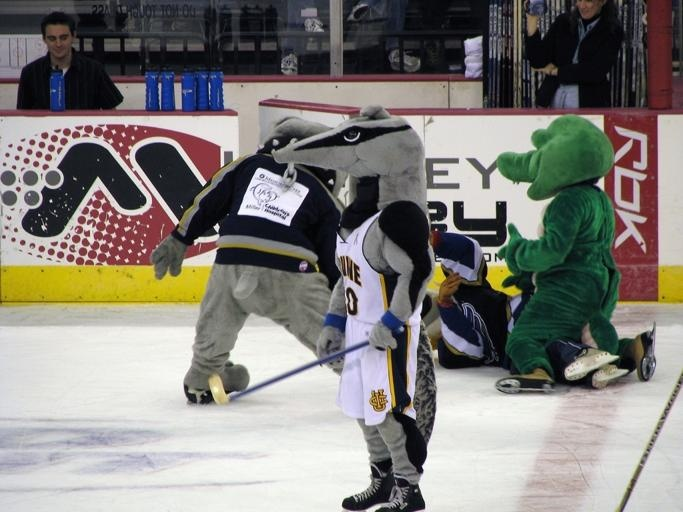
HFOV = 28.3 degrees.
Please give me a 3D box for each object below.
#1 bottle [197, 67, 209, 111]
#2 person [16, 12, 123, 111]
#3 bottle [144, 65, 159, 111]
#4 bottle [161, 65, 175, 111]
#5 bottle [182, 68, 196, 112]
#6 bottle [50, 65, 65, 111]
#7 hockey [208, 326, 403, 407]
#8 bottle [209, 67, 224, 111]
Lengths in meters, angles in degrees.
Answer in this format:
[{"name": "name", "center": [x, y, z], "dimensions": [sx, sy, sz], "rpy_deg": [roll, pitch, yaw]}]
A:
[{"name": "bottle", "center": [-1.123, -1.324, 10.930], "dimensions": [0.098, 0.299, 0.072], "rpy_deg": [-1, 7, -3]}, {"name": "person", "center": [-2.355, -1.643, 11.554], "dimensions": [0.782, 1.213, 0.424], "rpy_deg": [-5, -21, -10]}, {"name": "bottle", "center": [-1.537, -1.325, 10.956], "dimensions": [0.107, 0.304, 0.158], "rpy_deg": [-2, 7, -8]}, {"name": "bottle", "center": [-1.416, -1.322, 10.942], "dimensions": [0.107, 0.307, 0.293], "rpy_deg": [-2, 8, -8]}, {"name": "bottle", "center": [-1.241, -1.315, 10.906], "dimensions": [0.117, 0.301, 0.217], "rpy_deg": [-1, 7, 1]}, {"name": "bottle", "center": [-2.302, -1.316, 10.886], "dimensions": [0.111, 0.304, 0.335], "rpy_deg": [-3, 8, -12]}, {"name": "hockey", "center": [-0.206, 0.670, 7.961], "dimensions": [0.943, 0.151, 0.211], "rpy_deg": [-23, -6, -1]}, {"name": "bottle", "center": [-1.019, -1.321, 10.923], "dimensions": [0.109, 0.313, 0.182], "rpy_deg": [-2, 7, -6]}]
